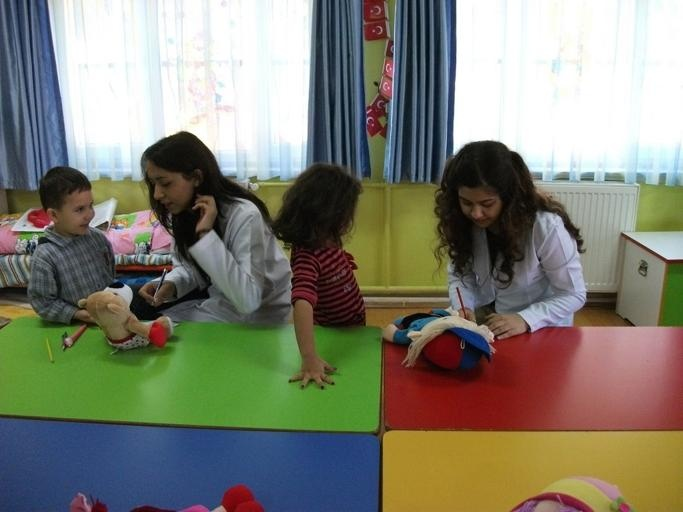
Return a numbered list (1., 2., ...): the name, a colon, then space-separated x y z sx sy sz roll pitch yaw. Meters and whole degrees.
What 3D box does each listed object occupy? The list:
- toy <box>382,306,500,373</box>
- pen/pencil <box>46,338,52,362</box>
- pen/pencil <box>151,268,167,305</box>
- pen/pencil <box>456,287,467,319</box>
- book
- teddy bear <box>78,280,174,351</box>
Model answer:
1. toy: 0.310 0.250 1.732 0.196 0.095 0.242 1 8 -1
2. pen/pencil: -0.962 0.310 1.780 0.010 0.008 0.141 -27 28 -20
3. pen/pencil: -0.776 0.130 2.306 0.026 0.249 0.027 0 53 -43
4. pen/pencil: 0.451 0.177 2.030 0.018 0.099 0.016 -12 -17 3
5. book: -1.481 -0.214 2.932 0.254 0.069 0.269 1 32 -5
6. teddy bear: -0.685 0.208 1.835 0.291 0.245 0.189 8 38 31
